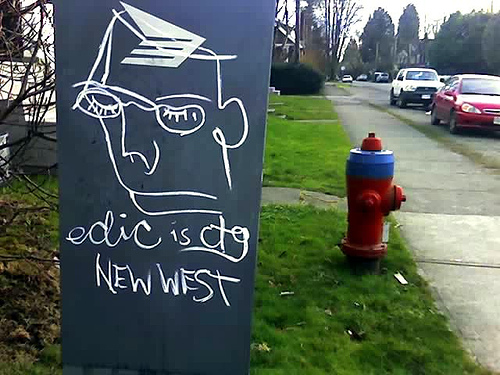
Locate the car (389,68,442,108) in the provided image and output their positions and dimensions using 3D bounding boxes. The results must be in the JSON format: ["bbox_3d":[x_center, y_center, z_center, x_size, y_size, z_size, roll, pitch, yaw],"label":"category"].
[{"bbox_3d":[7.923,-4.953,24.604,1.702,1.785,3.758,0,7,0],"label":"car"}]

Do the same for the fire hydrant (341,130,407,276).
[{"bbox_3d":[1.314,0.179,5.299,0.656,1.452,0.622,3,13,16],"label":"fire hydrant"}]

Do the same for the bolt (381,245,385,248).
[{"bbox_3d":[1.381,0.601,5.216,0.015,0.021,0.029,-1,4,-6],"label":"bolt"}]

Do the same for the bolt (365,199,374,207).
[{"bbox_3d":[1.201,0.149,5.052,0.060,0.068,0.018,4,4,7],"label":"bolt"}]

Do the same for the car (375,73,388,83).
[{"bbox_3d":[17.835,-14.829,67.734,1.101,1.065,2.544,-4,18,-24],"label":"car"}]

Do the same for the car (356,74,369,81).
[{"bbox_3d":[17.596,-17.293,79.186,1.485,0.798,2.503,1,18,5],"label":"car"}]

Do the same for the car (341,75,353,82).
[{"bbox_3d":[12.893,-14.590,66.997,0.955,0.742,2.345,2,23,8],"label":"car"}]
